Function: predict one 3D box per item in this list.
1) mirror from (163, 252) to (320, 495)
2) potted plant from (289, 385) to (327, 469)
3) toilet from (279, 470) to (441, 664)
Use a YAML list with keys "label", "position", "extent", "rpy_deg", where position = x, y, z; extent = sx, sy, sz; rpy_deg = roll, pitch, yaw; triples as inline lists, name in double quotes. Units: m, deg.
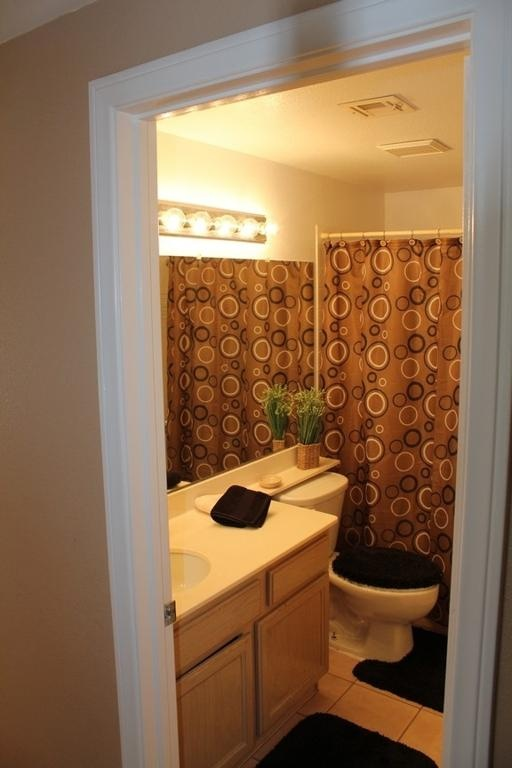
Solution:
- label: "mirror"
  position: [-0.077, -0.025, 2.565]
  extent: [0.074, 1.054, 0.996]
  rpy_deg: [3, 6, 32]
- label: "potted plant"
  position: [0.270, 0.237, 2.987]
  extent: [0.167, 0.374, 0.168]
  rpy_deg: [0, 4, -5]
- label: "toilet"
  position: [0.520, 0.896, 3.071]
  extent: [0.908, 1.002, 0.561]
  rpy_deg: [2, 7, 36]
